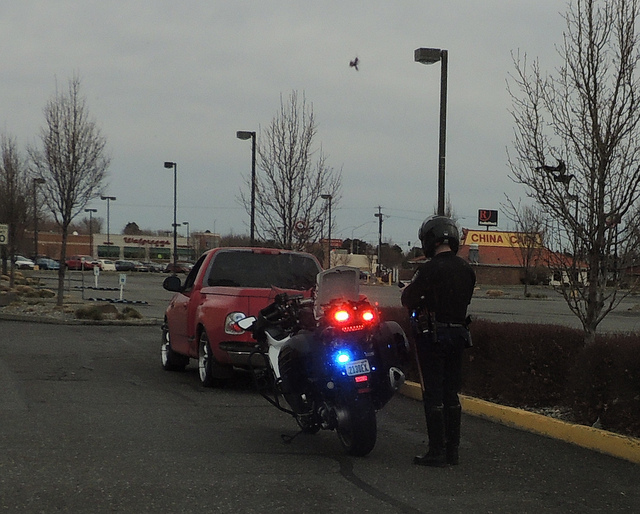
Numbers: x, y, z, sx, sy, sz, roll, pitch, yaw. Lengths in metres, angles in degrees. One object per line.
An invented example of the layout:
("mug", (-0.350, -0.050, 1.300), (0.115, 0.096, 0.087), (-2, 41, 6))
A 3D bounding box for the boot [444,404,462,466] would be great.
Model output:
("boot", (1.364, 1.803, 7.920), (0.271, 0.455, 0.166), (2, -1, -43))

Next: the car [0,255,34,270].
("car", (-21.313, 0.476, 55.486), (2.367, 0.964, 1.161), (-4, -3, 42))

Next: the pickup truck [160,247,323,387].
("pickup truck", (-1.393, 0.829, 11.906), (1.517, 1.353, 2.650), (2, 2, -18))

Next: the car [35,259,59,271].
("car", (-25.710, 0.759, 74.172), (1.771, 1.047, 3.096), (2, 0, -20))

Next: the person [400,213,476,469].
("person", (1.213, 0.827, 8.047), (0.640, 1.974, 0.839), (1, 0, 23))

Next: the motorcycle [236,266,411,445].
("motorcycle", (-0.118, 1.101, 8.915), (1.169, 1.903, 2.925), (-4, 1, -22))

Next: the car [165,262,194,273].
("car", (-13.078, 1.057, 72.835), (1.830, 1.093, 1.282), (-10, 1, 23))
